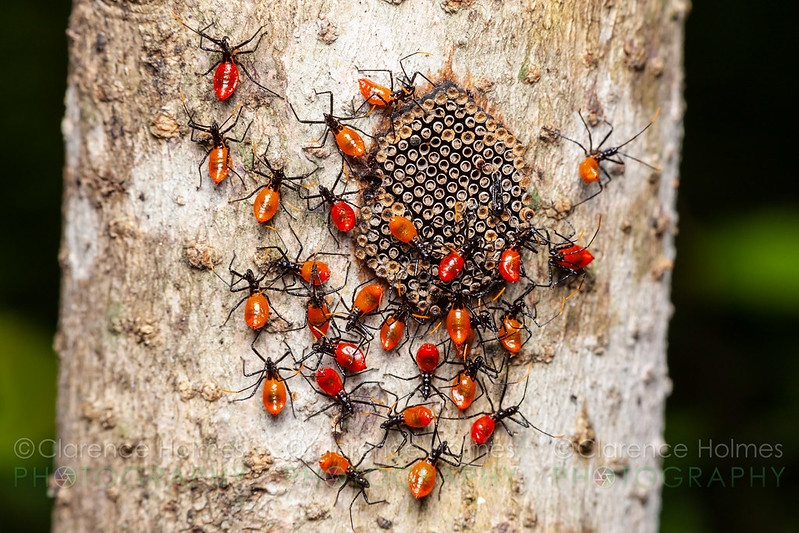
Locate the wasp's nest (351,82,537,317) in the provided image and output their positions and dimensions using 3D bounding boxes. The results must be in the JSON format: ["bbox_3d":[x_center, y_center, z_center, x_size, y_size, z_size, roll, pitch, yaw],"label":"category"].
[{"bbox_3d":[0.380,-0.541,7.575,1.150,0.394,1.762,7,96,-6],"label":"wasp's nest"}]
